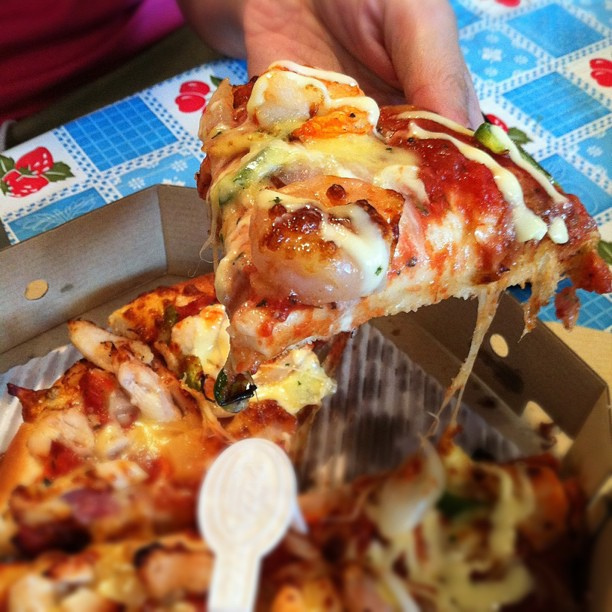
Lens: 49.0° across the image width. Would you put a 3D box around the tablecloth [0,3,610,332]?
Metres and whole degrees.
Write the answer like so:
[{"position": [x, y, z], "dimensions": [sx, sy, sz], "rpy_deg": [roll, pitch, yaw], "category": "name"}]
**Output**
[{"position": [0.099, -1.035, 3.445], "dimensions": [3.219, 0.402, 1.807], "rpy_deg": [0, 46, -1], "category": "tablecloth"}]
